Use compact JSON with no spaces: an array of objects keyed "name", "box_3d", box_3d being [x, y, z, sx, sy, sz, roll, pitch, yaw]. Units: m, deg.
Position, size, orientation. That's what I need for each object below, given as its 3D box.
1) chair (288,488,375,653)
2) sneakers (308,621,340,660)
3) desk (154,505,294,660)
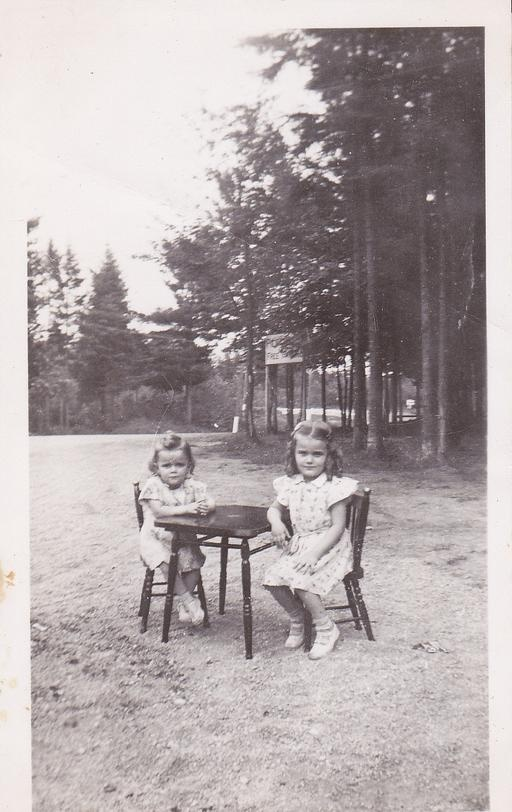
[{"name":"chair","box_3d":[0.368,0.615,2.951,0.244,0.590,0.456,0,3,36]},{"name":"sneakers","box_3d":[0.257,0.881,2.842,0.065,0.079,0.173,-24,20,46]},{"name":"desk","box_3d":[-0.172,0.704,3.024,0.310,0.501,0.462,3,-6,4]}]
